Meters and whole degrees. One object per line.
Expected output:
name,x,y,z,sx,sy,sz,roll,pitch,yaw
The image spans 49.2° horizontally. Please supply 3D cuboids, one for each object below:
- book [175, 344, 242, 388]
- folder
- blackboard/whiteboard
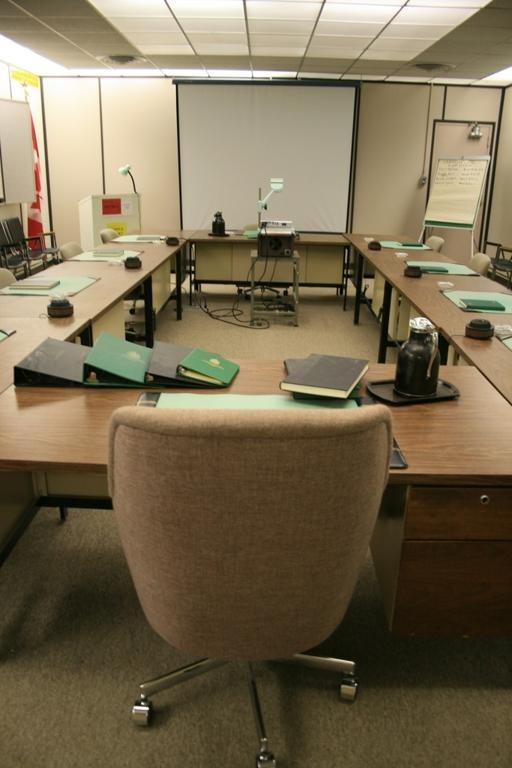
book,-0.131,-0.039,1.526,0.117,0.033,0.122,23,24,-10
folder,-0.424,-0.040,1.537,0.363,0.054,0.241,7,22,-4
blackboard/whiteboard,2.629,-2.526,7.392,0.718,0.945,0.551,11,16,35
